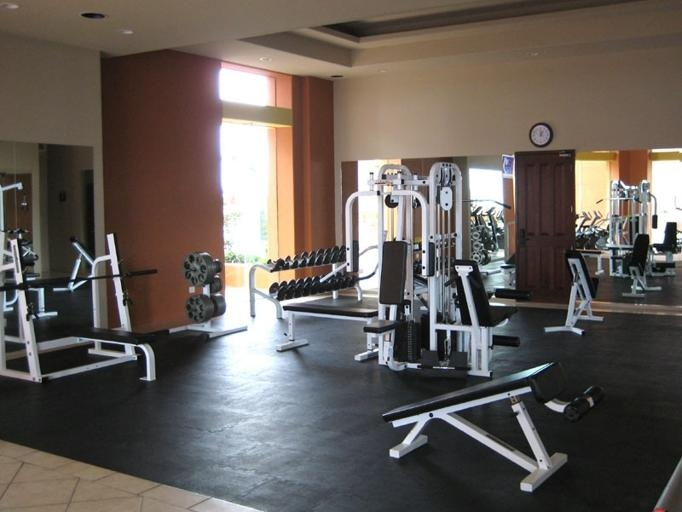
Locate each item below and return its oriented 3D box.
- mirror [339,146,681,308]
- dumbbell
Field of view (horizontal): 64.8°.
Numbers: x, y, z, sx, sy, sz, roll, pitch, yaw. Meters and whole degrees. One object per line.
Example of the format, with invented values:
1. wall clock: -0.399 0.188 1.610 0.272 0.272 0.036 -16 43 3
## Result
1. mirror: 3.286 -0.453 8.164 5.783 2.276 1.133 8 7 33
2. dumbbell: -0.363 0.281 6.845 0.575 0.714 1.111 7 9 38
